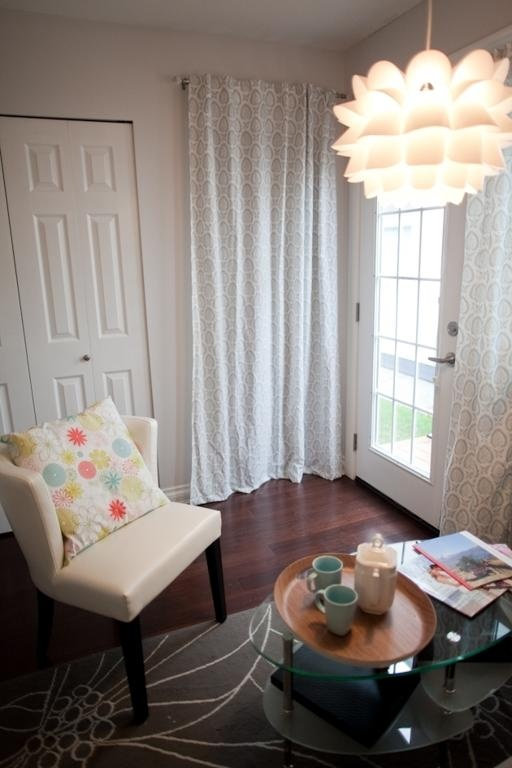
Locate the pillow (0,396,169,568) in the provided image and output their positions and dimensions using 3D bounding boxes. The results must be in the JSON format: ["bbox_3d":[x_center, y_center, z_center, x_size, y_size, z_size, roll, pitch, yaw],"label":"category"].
[{"bbox_3d":[-0.593,0.357,1.810,0.126,0.473,0.479,-25,4,29],"label":"pillow"}]

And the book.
[{"bbox_3d":[0.552,0.536,1.486,0.207,0.027,0.236,-13,25,-27],"label":"book"}]

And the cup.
[{"bbox_3d":[0.182,0.513,1.311,0.098,0.154,0.158,-7,13,-13],"label":"cup"}]
